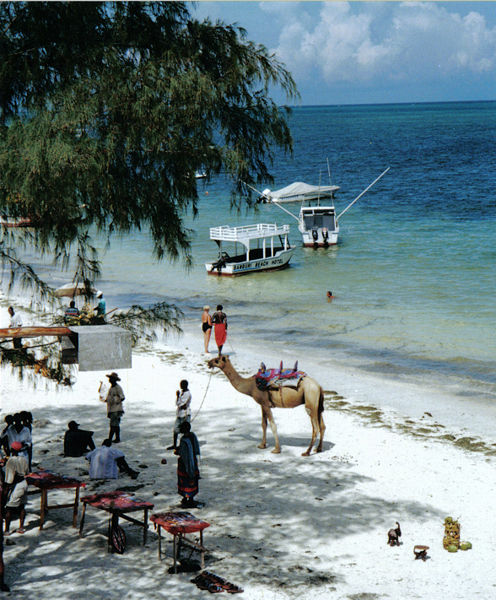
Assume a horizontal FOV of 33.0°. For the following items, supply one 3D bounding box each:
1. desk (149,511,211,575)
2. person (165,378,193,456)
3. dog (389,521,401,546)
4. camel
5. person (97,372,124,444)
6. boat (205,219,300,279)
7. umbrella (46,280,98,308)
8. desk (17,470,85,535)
[{"bbox_3d":[-0.785,2.872,10.152,0.590,0.555,0.753,-2,12,-23],"label":"desk"},{"bbox_3d":[-1.172,1.905,14.448,0.520,1.147,0.644,-1,17,-18],"label":"person"},{"bbox_3d":[1.950,3.093,11.161,0.171,0.239,0.387,5,7,10],"label":"dog"},{"bbox_3d":[0.334,1.869,14.891,2.173,1.550,0.614,3,1,17],"label":"camel"},{"bbox_3d":[-2.359,1.862,14.537,0.392,1.189,0.466,3,-8,-29],"label":"person"},{"bbox_3d":[0.372,-2.681,42.522,2.031,2.182,5.721,5,11,38],"label":"boat"},{"bbox_3d":[-3.277,-0.117,15.553,1.189,0.401,1.188,-1,-4,22],"label":"umbrella"},{"bbox_3d":[-2.544,2.479,11.023,0.625,0.542,1.087,2,0,-20],"label":"desk"}]
